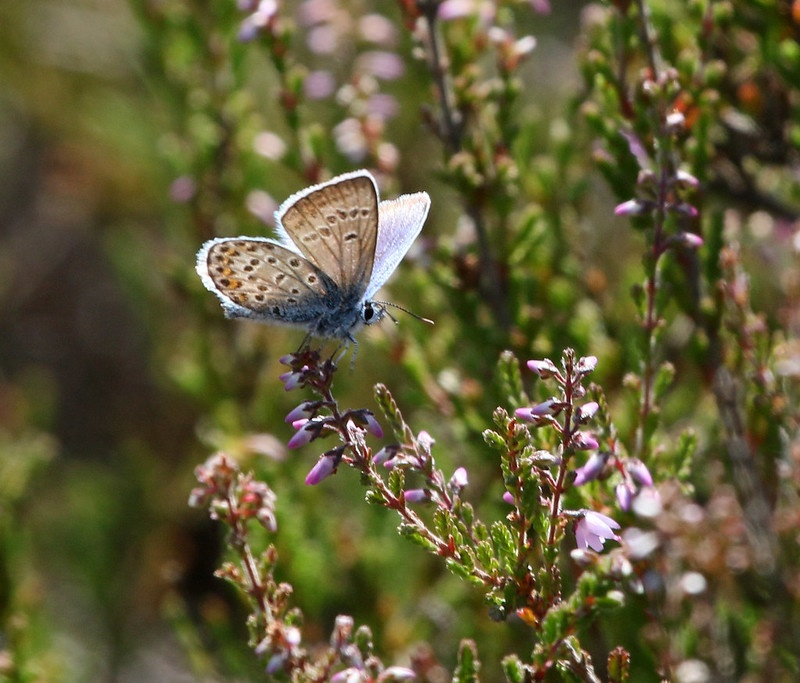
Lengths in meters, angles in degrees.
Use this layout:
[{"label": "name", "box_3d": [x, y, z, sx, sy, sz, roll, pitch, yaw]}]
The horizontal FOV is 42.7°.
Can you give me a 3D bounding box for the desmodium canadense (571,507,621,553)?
[{"label": "desmodium canadense", "box_3d": [0.591, 0.577, 3.082, 0.130, 0.170, 0.116, 11, 82, 1]}]
